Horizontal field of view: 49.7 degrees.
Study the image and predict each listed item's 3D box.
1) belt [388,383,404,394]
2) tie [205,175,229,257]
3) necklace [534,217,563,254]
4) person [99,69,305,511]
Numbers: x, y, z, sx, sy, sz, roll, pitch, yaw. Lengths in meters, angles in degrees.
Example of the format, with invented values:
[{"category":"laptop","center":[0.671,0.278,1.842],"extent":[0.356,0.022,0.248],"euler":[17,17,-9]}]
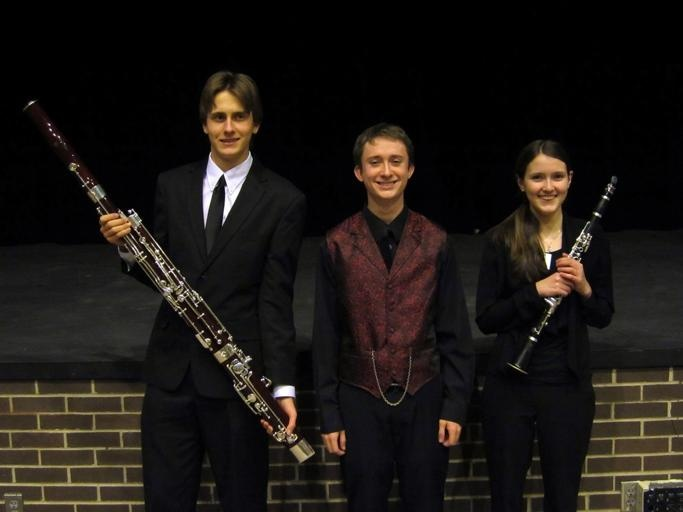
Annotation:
[{"category":"belt","center":[0.281,0.703,3.879],"extent":[0.065,0.066,0.015],"euler":[2,11,2]},{"category":"tie","center":[-0.675,-0.214,3.892],"extent":[0.072,0.424,0.020],"euler":[6,-20,0]},{"category":"necklace","center":[1.184,-0.126,4.137],"extent":[0.131,0.186,0.048],"euler":[0,1,5]},{"category":"person","center":[-0.702,0.179,3.917],"extent":[1.027,2.270,0.707],"euler":[-1,-16,-2]}]
